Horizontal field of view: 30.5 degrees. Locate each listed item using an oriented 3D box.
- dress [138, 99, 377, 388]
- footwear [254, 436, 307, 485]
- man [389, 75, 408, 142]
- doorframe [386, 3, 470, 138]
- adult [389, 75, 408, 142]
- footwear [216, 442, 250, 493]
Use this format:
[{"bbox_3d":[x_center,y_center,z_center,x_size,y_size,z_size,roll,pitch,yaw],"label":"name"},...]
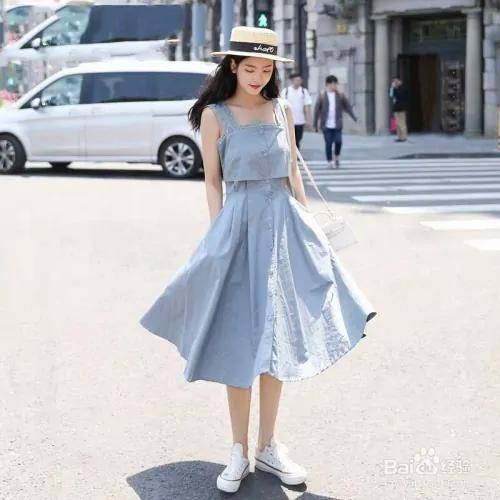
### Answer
[{"bbox_3d":[0.069,-0.043,3.863,0.887,1.131,0.617,-6,11,-28],"label":"dress"},{"bbox_3d":[0.127,0.904,3.967,0.096,0.140,0.275,-10,10,-38],"label":"footwear"},{"bbox_3d":[3.721,-3.470,23.197,0.397,1.620,1.333,1,10,9],"label":"man"},{"bbox_3d":[5.997,-5.015,28.314,1.823,2.754,1.960,-13,14,3],"label":"doorframe"},{"bbox_3d":[3.728,-3.479,23.241,0.398,1.620,1.423,1,10,9],"label":"adult"},{"bbox_3d":[-0.064,0.908,3.871,0.075,0.120,0.237,6,11,11],"label":"footwear"}]
